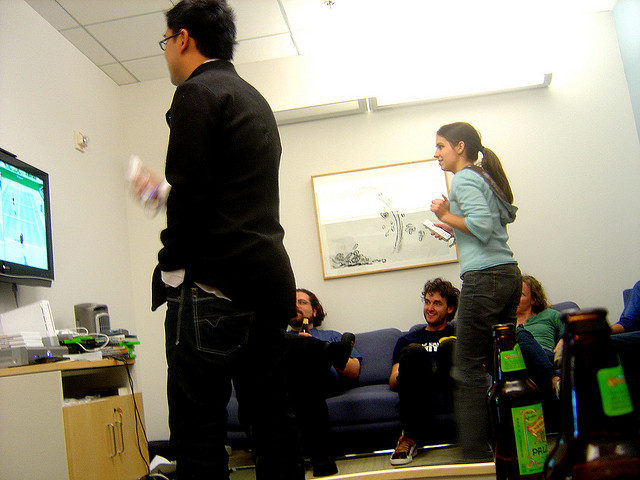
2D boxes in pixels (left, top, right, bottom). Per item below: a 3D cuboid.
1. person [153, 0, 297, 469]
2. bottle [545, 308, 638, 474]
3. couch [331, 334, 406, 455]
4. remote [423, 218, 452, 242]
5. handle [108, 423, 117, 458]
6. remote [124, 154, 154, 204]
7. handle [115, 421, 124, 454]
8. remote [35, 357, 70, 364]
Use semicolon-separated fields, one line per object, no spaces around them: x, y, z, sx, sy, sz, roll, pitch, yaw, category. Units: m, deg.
-0.294;-0.108;1.361;0.412;1.342;0.251;-7;-11;-8;person
0.308;0.184;0.575;0.110;0.195;0.058;-12;-11;19;bottle
0.280;1.010;3.175;0.539;0.633;0.704;-2;-12;11;couch
0.877;-0.071;3.625;0.049;0.212;0.107;-55;4;17;remote
-1.077;1.039;2.511;0.006;0.173;0.061;-9;-10;3;handle
-0.540;-0.185;1.438;0.067;0.191;0.154;-4;-11;-22;remote
-1.067;1.055;2.592;0.012;0.166;0.052;-8;-10;-5;handle
-1.222;0.548;2.220;0.045;0.026;0.180;-10;-10;11;remote
